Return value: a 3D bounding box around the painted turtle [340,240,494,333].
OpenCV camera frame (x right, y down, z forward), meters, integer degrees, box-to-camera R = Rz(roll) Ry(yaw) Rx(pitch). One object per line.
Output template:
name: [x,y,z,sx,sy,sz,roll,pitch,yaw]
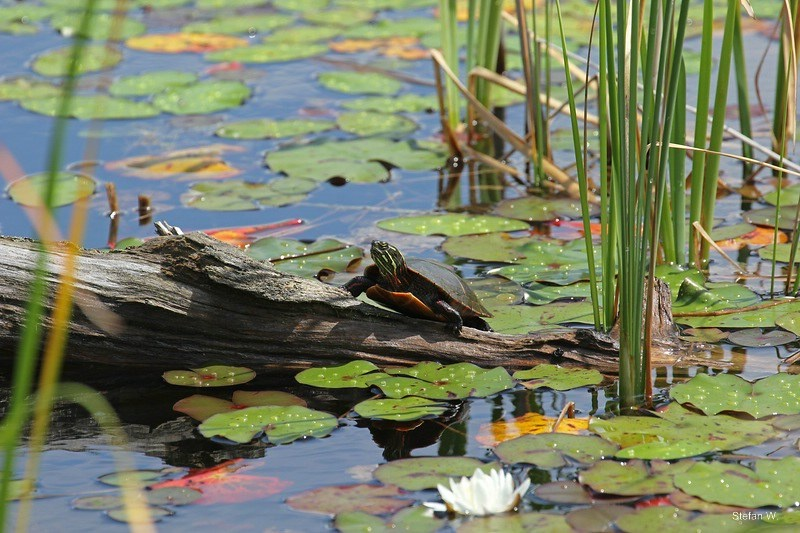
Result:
painted turtle: [0.119,0.124,5.437,0.694,0.566,0.482,-2,-2,-26]
